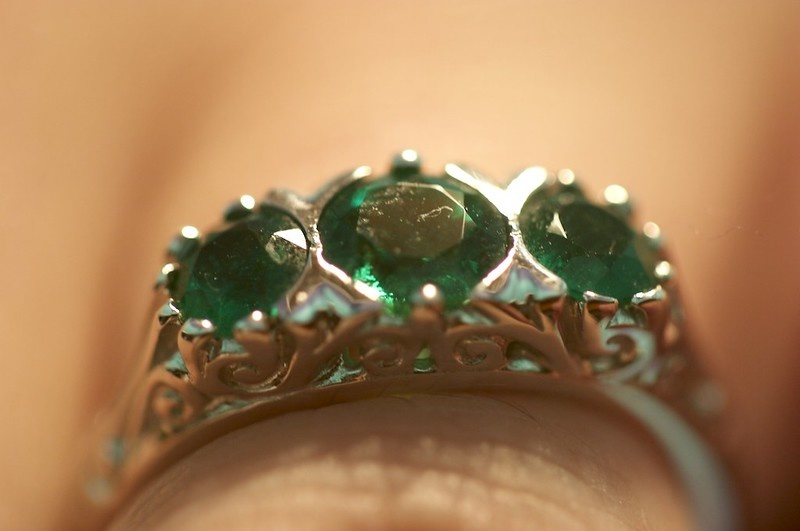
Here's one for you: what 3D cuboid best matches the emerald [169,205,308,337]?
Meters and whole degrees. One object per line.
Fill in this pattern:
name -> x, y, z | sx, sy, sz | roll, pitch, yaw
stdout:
emerald -> -0.264, -0.008, 1.592 | 0.220, 0.063, 0.234 | 48, 38, 4

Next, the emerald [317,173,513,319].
emerald -> 0.023, -0.035, 1.630 | 0.319, 0.105, 0.209 | -1, 53, 7

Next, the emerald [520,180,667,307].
emerald -> 0.316, -0.027, 1.652 | 0.236, 0.095, 0.156 | 34, 64, 28
